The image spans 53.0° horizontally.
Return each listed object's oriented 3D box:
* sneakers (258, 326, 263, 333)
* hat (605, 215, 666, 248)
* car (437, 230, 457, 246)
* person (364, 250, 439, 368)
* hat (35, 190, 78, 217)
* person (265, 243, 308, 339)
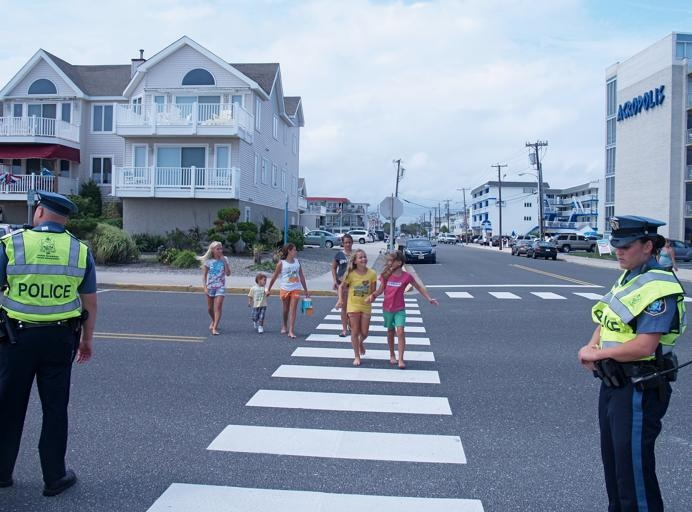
[{"bbox_3d":[-1.575,1.341,12.600,0.107,0.135,0.327,-2,-2,-9],"label":"sneakers"},{"bbox_3d":[2.401,-0.229,5.730,0.331,0.179,0.305,-5,3,-18],"label":"hat"},{"bbox_3d":[15.097,-2.770,102.600,1.661,1.653,4.813,-1,0,-4],"label":"car"},{"bbox_3d":[0.727,0.765,10.381,0.733,1.687,0.886,-2,6,-31],"label":"person"},{"bbox_3d":[-2.716,-0.517,6.440,0.319,0.131,0.286,25,13,26],"label":"hat"},{"bbox_3d":[-1.061,0.596,12.634,0.707,1.644,1.784,1,5,-7],"label":"person"}]
